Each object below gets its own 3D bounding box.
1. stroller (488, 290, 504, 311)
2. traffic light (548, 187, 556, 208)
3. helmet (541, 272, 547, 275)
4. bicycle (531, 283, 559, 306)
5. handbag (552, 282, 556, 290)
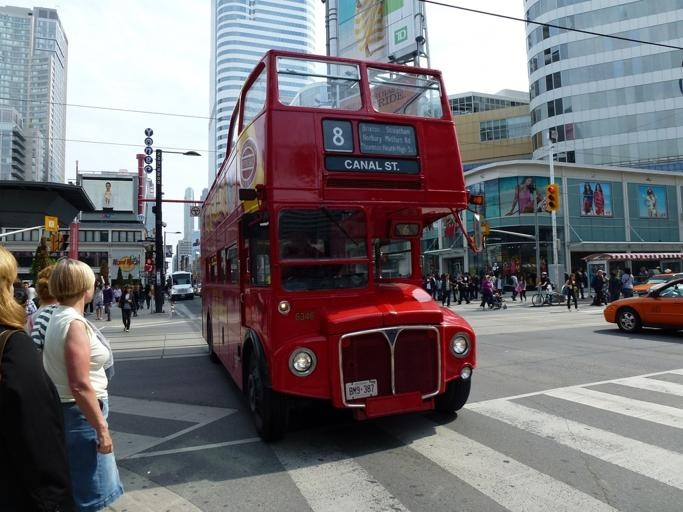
[{"bbox_3d":[7.151,1.977,26.158,0.658,0.796,0.932,-3,-1,20],"label":"stroller"},{"bbox_3d":[10.292,-2.879,27.806,0.452,1.145,0.338,-3,-1,21],"label":"traffic light"},{"bbox_3d":[12.696,1.072,35.844,0.218,0.115,0.312,-1,2,-3],"label":"helmet"},{"bbox_3d":[9.911,1.931,27.834,1.702,1.080,0.821,3,-6,-36],"label":"bicycle"},{"bbox_3d":[11.586,1.629,31.139,0.071,0.317,0.217,4,11,-17],"label":"handbag"}]
